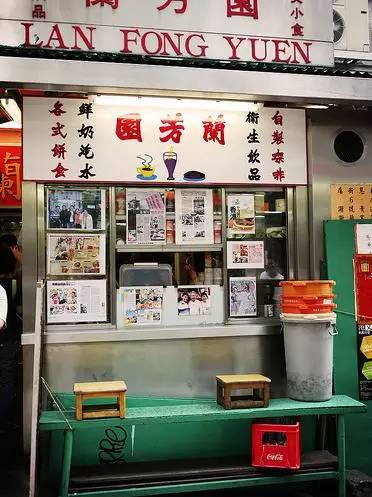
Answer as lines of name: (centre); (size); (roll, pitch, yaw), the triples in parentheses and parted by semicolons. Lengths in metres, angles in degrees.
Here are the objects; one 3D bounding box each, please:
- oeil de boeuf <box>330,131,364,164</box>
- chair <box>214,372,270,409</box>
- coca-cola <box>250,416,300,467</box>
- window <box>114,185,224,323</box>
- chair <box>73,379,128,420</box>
oeil de boeuf: (1.521, -0.956, 4.824); (0.295, 0.314, 0.071); (0, -2, -14)
chair: (0.402, 1.048, 3.910); (0.310, 0.181, 0.302); (1, -10, -11)
coca-cola: (0.653, 1.396, 3.783); (0.339, 0.239, 0.335); (0, -4, 7)
window: (-0.195, 0.071, 4.511); (1.235, 1.553, 0.552); (0, -5, -6)
chair: (-0.615, 1.070, 3.650); (0.350, 0.217, 0.349); (0, -2, -11)
